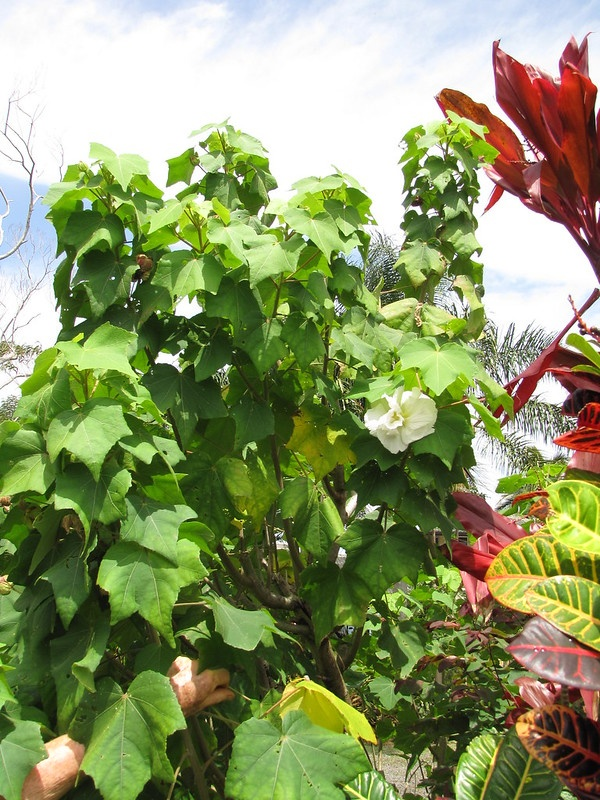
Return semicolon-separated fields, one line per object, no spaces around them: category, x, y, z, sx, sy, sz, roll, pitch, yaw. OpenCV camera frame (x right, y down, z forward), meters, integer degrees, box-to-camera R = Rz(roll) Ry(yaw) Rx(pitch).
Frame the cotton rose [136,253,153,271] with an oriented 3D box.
cotton rose;-0.415;-0.367;1.580;0.036;0.047;0.024;-43;3;-26
